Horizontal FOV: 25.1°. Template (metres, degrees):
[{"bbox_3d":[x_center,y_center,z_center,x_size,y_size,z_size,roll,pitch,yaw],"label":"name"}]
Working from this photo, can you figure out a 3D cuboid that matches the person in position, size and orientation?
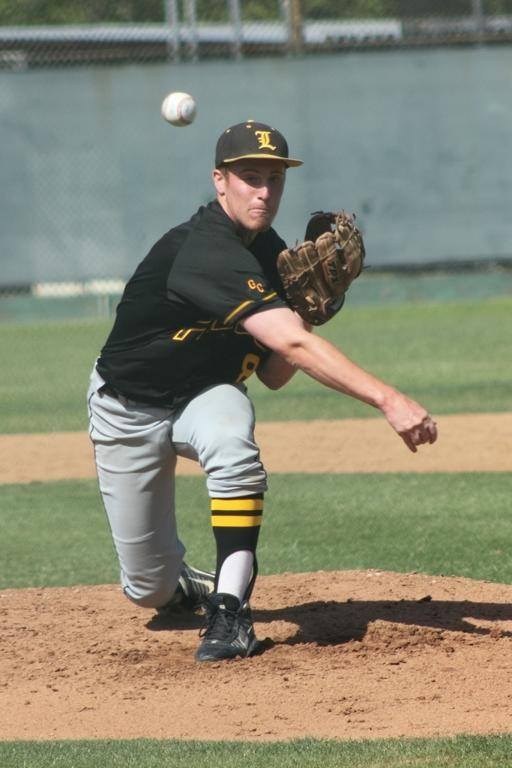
[{"bbox_3d":[-0.037,0.015,3.128,0.501,1.459,1.028,-9,8,-41],"label":"person"}]

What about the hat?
[{"bbox_3d":[-0.022,-0.639,3.106,0.135,0.088,0.172,-5,9,-32],"label":"hat"}]

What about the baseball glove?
[{"bbox_3d":[0.178,-0.334,3.348,0.253,0.337,0.177,-6,12,-8],"label":"baseball glove"}]
